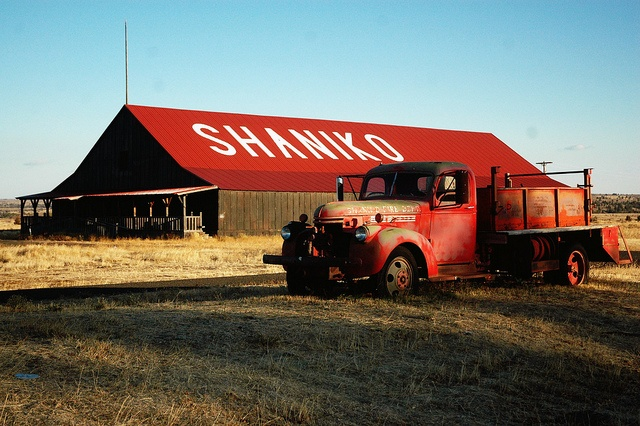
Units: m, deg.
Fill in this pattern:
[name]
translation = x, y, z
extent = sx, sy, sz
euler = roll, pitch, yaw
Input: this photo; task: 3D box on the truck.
[truck]
translation = 4.003, 0.583, 17.808
extent = 9.761, 3.454, 3.786
euler = 3, -7, -35
